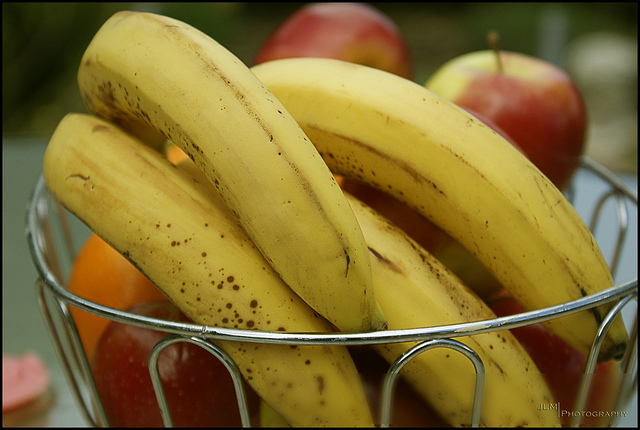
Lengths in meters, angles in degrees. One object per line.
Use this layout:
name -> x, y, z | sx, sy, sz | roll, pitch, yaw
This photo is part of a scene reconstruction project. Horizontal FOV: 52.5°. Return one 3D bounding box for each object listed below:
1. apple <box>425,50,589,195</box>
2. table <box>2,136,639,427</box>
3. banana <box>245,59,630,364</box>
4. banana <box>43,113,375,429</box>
apple -> 0.192, -0.094, 0.776 | 0.165, 0.216, 0.171 | -6, 13, -3
table -> -0.145, 0.067, 0.877 | 0.515, 0.203, 0.542 | 1, 16, -4
banana -> 0.094, 0.000, 0.560 | 0.357, 0.101, 0.074 | 42, 22, 8
banana -> -0.080, 0.045, 0.528 | 0.068, 0.075, 0.302 | -45, 102, -24
